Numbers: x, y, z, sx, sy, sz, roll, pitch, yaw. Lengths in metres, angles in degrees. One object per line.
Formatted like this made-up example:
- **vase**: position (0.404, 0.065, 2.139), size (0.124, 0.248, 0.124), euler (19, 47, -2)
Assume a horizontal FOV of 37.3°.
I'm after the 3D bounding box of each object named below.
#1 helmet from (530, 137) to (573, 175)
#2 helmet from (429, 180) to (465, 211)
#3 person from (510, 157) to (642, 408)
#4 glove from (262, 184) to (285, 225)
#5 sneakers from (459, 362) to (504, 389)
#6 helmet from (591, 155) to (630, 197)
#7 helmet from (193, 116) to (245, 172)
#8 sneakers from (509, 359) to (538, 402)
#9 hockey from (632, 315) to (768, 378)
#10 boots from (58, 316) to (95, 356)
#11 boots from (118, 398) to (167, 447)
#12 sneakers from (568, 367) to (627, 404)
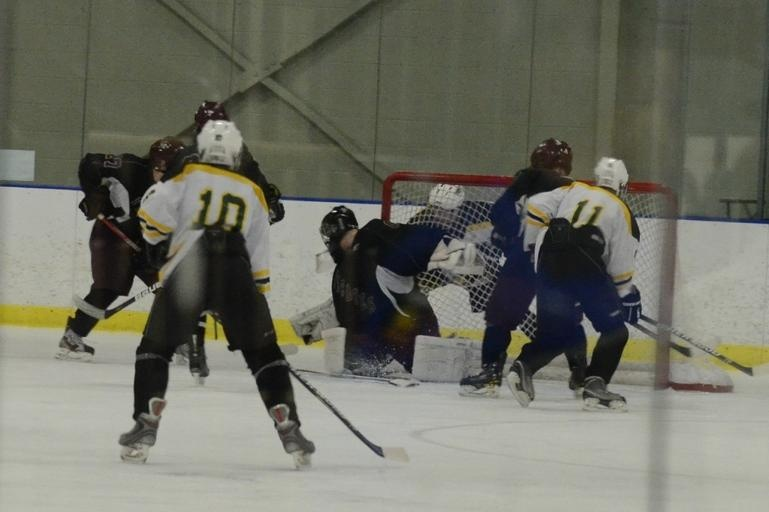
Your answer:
- **helmet**: position (0.890, -0.521, 5.919), size (0.207, 0.172, 0.153), euler (-19, 26, -30)
- **helmet**: position (0.349, -0.334, 6.484), size (0.186, 0.152, 0.136), euler (26, -39, -7)
- **person**: position (0.988, 0.127, 5.873), size (0.595, 1.250, 0.557), euler (4, 4, 10)
- **glove**: position (-0.629, -0.281, 6.304), size (0.122, 0.140, 0.345), euler (1, 3, -11)
- **sneakers**: position (0.519, 0.632, 5.937), size (0.287, 0.189, 0.093), euler (2, -8, 0)
- **helmet**: position (1.136, -0.411, 5.756), size (0.157, 0.169, 0.193), euler (7, 11, 19)
- **helmet**: position (-0.713, -0.473, 4.845), size (0.187, 0.215, 0.202), euler (2, 3, -8)
- **sneakers**: position (0.690, 0.635, 5.724), size (0.163, 0.221, 0.118), euler (3, 4, -14)
- **hockey**: position (1.739, 0.514, 6.309), size (0.659, 0.088, 0.190), euler (32, 11, -22)
- **boots**: position (-1.727, 0.473, 6.416), size (0.234, 0.219, 0.122), euler (2, -4, 13)
- **boots**: position (-1.027, 0.709, 4.795), size (0.226, 0.204, 0.109), euler (-13, -22, 31)
- **sneakers**: position (1.051, 0.676, 5.750), size (0.295, 0.121, 0.108), euler (18, -27, 0)
